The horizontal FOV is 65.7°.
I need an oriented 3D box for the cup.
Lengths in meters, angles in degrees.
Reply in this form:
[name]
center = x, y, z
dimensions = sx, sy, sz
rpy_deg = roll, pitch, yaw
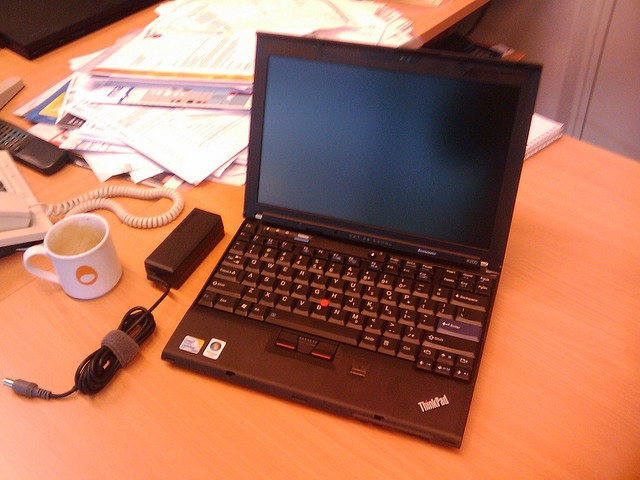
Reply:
[cup]
center = -0.387, 0.023, 0.804
dimensions = 0.173, 0.125, 0.107
rpy_deg = -13, 48, -8

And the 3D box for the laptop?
[laptop]
center = 0.046, -0.029, 0.740
dimensions = 0.450, 0.331, 0.476
rpy_deg = 13, 51, 17

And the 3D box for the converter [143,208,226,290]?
[converter]
center = -0.232, 0.010, 0.861
dimensions = 0.076, 0.039, 0.167
rpy_deg = 27, 55, 19
